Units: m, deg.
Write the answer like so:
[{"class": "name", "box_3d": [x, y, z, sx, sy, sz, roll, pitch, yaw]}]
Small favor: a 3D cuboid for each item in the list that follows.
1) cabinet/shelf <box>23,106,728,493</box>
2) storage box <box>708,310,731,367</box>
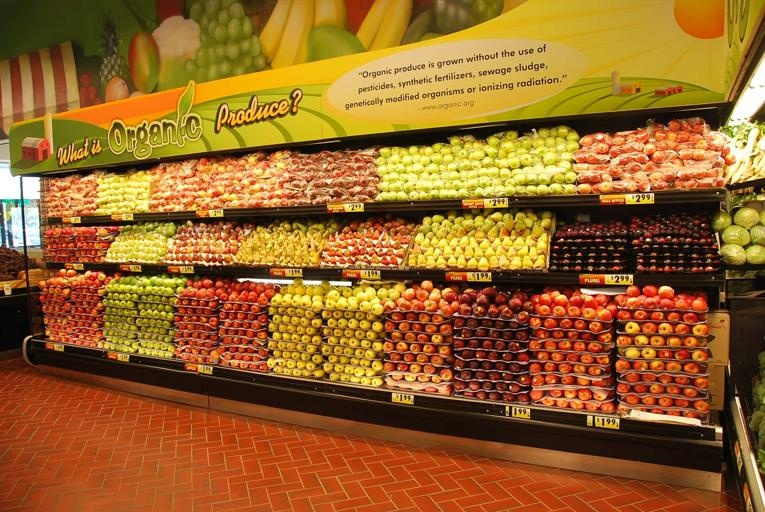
[{"class": "cabinet/shelf", "box_3d": [-1.156, 0.545, 6.782, 8.831, 2.701, 2.288, -1, -2, 33]}, {"class": "storage box", "box_3d": [3.083, 0.741, 4.494, 0.261, 0.495, 0.119, -3, 16, -2]}]
